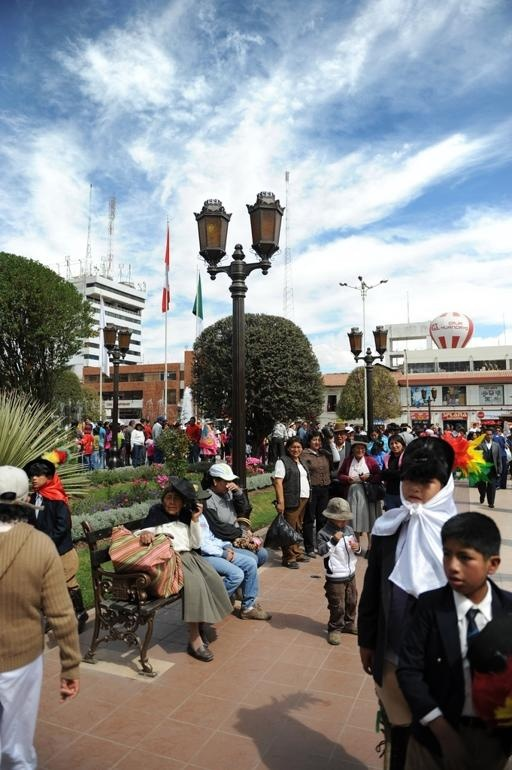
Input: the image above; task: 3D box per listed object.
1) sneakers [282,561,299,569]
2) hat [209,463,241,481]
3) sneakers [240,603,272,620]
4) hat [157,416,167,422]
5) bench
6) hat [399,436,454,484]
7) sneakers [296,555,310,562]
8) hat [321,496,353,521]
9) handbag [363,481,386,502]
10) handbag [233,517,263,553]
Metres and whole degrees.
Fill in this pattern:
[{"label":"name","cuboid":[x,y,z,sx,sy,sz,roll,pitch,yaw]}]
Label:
[{"label":"sneakers","cuboid":[0.414,2.256,7.278,0.159,0.067,0.068,-8,-6,34]},{"label":"hat","cuboid":[-0.314,0.806,5.490,0.213,0.109,0.156,10,6,24]},{"label":"sneakers","cuboid":[-0.016,2.092,5.396,0.242,0.138,0.120,1,-3,-4]},{"label":"hat","cuboid":[-2.907,1.111,18.197,0.180,0.212,0.217,6,15,29]},{"label":"bench","cuboid":[-0.905,1.695,5.104,0.659,0.971,1.566,2,-7,11]},{"label":"hat","cuboid":[0.763,0.349,2.644,0.182,0.196,0.246,3,-18,23]},{"label":"sneakers","cuboid":[0.596,2.267,7.624,0.088,0.083,0.192,1,7,33]},{"label":"hat","cuboid":[0.699,1.104,5.107,0.223,0.114,0.205,-6,12,-26]},{"label":"handbag","cuboid":[1.503,1.387,7.569,0.304,0.296,0.117,-4,-17,-36]},{"label":"handbag","cuboid":[-0.152,1.477,5.632,0.136,0.343,0.275,-36,-23,21]}]
